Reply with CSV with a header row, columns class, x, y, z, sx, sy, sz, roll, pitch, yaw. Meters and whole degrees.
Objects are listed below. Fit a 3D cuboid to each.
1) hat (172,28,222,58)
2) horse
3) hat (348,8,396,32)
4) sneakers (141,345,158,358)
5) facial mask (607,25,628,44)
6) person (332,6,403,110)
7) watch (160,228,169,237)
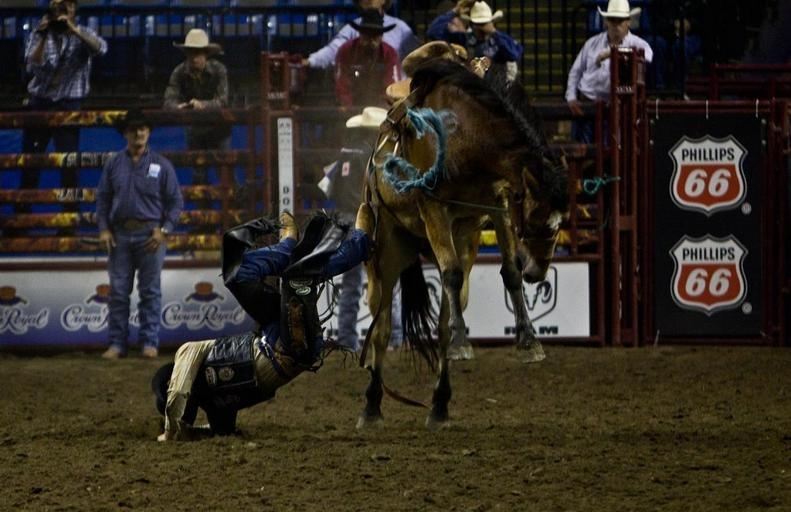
class,x,y,z,sx,sy,sz,roll,pitch,yaw
hat,-3.206,-3.491,21.012,0.743,0.381,0.306,-1,4,-6
horse,0.747,-0.421,17.602,1.456,4.700,6.173,-2,-5,-20
hat,-0.373,-3.798,20.894,0.728,0.401,0.611,-2,5,-16
sneakers,-3.859,1.499,20.362,0.213,0.193,0.163,-8,23,-31
facial mask,3.553,-3.553,20.826,0.214,0.194,0.287,1,3,5
person,-0.445,-3.145,20.388,0.623,1.056,2.040,1,-17,-4
watch,-3.656,-0.396,20.530,0.105,0.109,0.103,-28,-18,-28
